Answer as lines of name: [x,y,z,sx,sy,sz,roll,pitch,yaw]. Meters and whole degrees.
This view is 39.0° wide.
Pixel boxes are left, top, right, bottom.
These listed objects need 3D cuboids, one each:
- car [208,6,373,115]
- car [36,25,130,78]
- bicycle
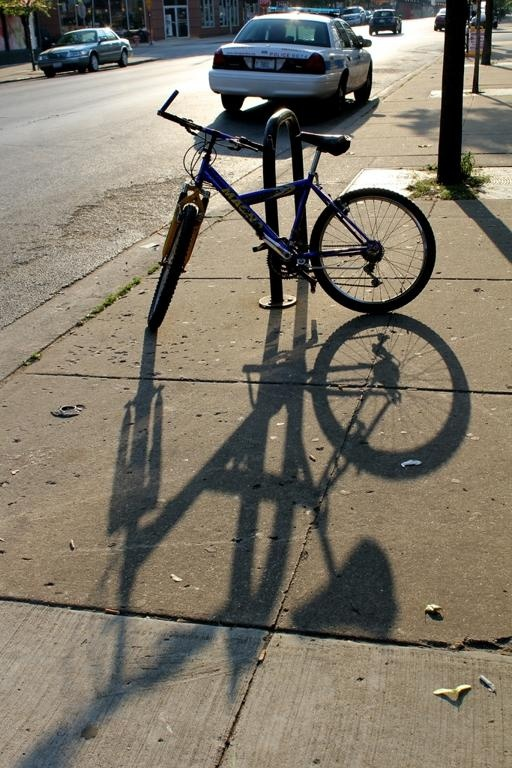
car: [1.013,-6.888,15.391,2.424,1.827,5.602,10,30,16]
car: [-7.341,-14.054,30.483,2.585,1.713,4.310,1,27,7]
bicycle: [0.167,-1.042,4.526,1.861,1.306,0.972,3,12,9]
